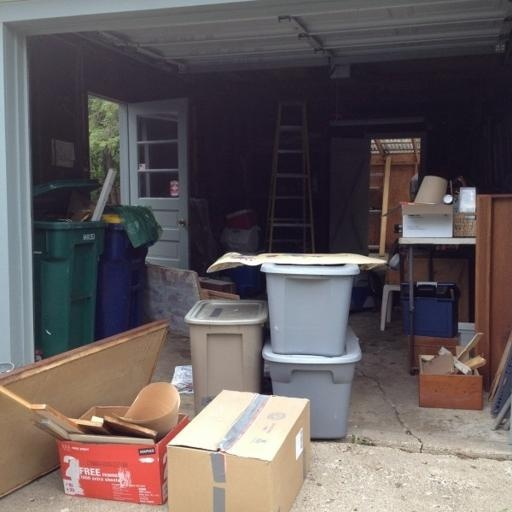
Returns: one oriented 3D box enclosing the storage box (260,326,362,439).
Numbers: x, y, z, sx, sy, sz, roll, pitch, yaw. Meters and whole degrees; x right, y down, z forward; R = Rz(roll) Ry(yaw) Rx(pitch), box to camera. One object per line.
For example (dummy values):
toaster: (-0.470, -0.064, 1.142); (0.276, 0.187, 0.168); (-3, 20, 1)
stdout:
storage box: (0.282, 0.612, 2.794); (0.402, 0.404, 0.512); (0, -1, 5)

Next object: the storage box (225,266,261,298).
storage box: (-0.143, 0.307, 6.377); (0.302, 0.432, 0.350); (3, -8, -28)

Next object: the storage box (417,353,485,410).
storage box: (1.116, 0.720, 3.267); (0.241, 0.165, 0.248); (0, 2, 11)

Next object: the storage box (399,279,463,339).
storage box: (1.182, 0.356, 3.908); (0.498, 0.537, 0.319); (-2, -5, 23)

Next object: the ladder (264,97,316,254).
ladder: (0.478, -0.959, 6.985); (0.702, 1.869, 1.085); (9, 8, 0)

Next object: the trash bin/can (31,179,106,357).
trash bin/can: (-1.300, 0.223, 3.823); (0.501, 0.948, 0.292); (4, 10, -34)

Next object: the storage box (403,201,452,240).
storage box: (1.117, -0.225, 3.705); (0.233, 0.159, 0.249); (1, 1, 9)

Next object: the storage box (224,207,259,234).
storage box: (-0.189, -0.423, 6.648); (0.257, 0.175, 0.269); (-10, 1, 24)

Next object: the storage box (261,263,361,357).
storage box: (0.269, 0.279, 2.945); (0.468, 0.489, 0.585); (1, -4, 1)

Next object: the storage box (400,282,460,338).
storage box: (1.160, 0.406, 3.867); (0.366, 0.402, 0.246); (-1, -30, 15)

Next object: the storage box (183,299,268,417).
storage box: (-0.163, 0.548, 3.153); (0.465, 0.779, 0.515); (1, 6, 1)
